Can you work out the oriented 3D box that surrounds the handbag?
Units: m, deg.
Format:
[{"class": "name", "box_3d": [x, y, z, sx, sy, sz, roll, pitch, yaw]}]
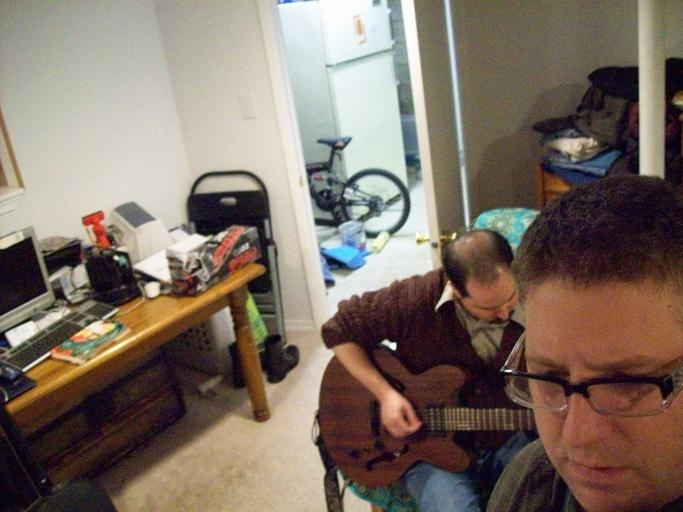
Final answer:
[{"class": "handbag", "box_3d": [0.927, -0.498, 2.000, 0.085, 0.165, 0.214, 2, 25, -47]}]

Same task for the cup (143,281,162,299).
[{"class": "cup", "box_3d": [-0.850, 0.139, 2.502, 0.059, 0.029, 0.078, -9, 52, -11]}]

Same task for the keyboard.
[{"class": "keyboard", "box_3d": [-1.114, 0.318, 2.214, 0.167, 0.081, 0.449, 2, 21, 29]}]

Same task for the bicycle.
[{"class": "bicycle", "box_3d": [0.380, -0.606, 5.029, 1.233, 0.698, 0.529, 7, 28, 11]}]

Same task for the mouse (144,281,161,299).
[{"class": "mouse", "box_3d": [-0.849, 0.142, 2.499, 0.059, 0.028, 0.078, -9, 52, -11]}]

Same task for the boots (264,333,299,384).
[{"class": "boots", "box_3d": [-0.332, 0.545, 3.118, 0.140, 0.207, 0.307, 3, 27, 17]}]

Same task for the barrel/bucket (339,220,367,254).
[{"class": "barrel/bucket", "box_3d": [0.094, -0.154, 4.687, 0.197, 0.235, 0.163, -16, 26, -10]}]
